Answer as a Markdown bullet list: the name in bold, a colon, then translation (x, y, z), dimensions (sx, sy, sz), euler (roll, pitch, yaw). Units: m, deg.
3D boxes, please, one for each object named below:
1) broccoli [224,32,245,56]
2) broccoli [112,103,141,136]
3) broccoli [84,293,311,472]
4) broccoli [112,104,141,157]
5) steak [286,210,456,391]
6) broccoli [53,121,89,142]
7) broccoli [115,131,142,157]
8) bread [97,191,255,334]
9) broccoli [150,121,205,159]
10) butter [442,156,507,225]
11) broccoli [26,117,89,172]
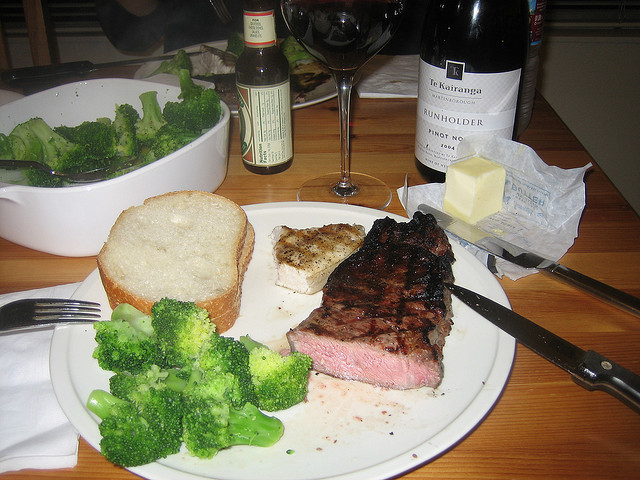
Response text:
- **broccoli**: translation (-0.482, -1.110, 2.816), dimensions (0.101, 0.073, 0.296), euler (-5, 39, -4)
- **broccoli**: translation (-0.771, -0.484, 1.986), dimensions (0.096, 0.033, 0.112), euler (1, 77, -11)
- **broccoli**: translation (-0.313, 0.467, 1.408), dimensions (0.506, 0.136, 0.404), euler (8, 49, 11)
- **broccoli**: translation (-0.772, -0.434, 1.978), dimensions (0.120, 0.046, 0.188), euler (1, 79, -19)
- **steak**: translation (0.204, 0.186, 1.646), dimensions (0.541, 0.446, 0.560), euler (-2, 17, 5)
- **broccoli**: translation (-0.959, -0.418, 1.939), dimensions (0.093, 0.026, 0.088), euler (-18, 56, 0)
- **broccoli**: translation (-0.759, -0.379, 1.975), dimensions (0.098, 0.029, 0.090), euler (-1, 87, -15)
- **bread**: translation (-0.488, 0.043, 1.727), dimensions (0.468, 0.198, 0.562), euler (1, 39, 2)
- **broccoli**: translation (-0.571, -0.393, 1.934), dimensions (0.188, 0.138, 0.276), euler (6, 17, 28)
- **butter**: translation (0.598, -0.196, 1.934), dimensions (0.195, 0.181, 0.138), euler (-24, 37, -24)
- **broccoli**: translation (-0.993, -0.338, 1.894), dimensions (0.245, 0.069, 0.157), euler (29, 60, -12)
